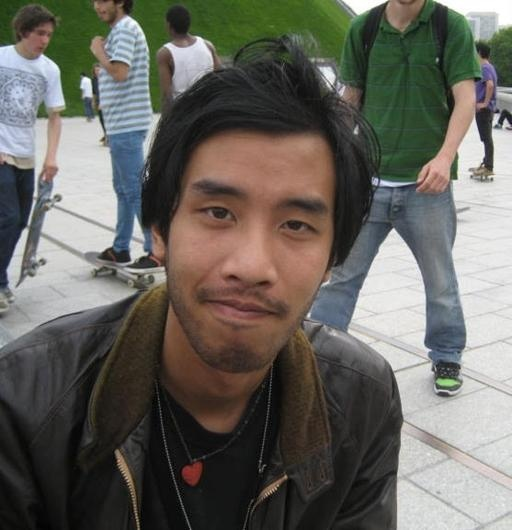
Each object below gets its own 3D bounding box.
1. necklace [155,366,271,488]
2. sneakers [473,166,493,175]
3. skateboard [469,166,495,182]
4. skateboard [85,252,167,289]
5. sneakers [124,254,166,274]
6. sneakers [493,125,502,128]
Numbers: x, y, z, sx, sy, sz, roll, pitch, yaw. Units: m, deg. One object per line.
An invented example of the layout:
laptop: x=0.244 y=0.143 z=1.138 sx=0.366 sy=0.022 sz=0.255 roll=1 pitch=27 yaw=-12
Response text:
necklace: x=-0.136 y=0.434 z=1.343 sx=0.324 sy=0.025 sz=0.395 roll=-11 pitch=37 yaw=15
sneakers: x=5.064 y=-2.079 z=11.299 sx=0.289 sy=0.107 sz=0.288 roll=8 pitch=18 yaw=28
skateboard: x=5.145 y=-2.028 z=11.370 sx=0.433 sy=0.173 sz=0.438 roll=2 pitch=13 yaw=-4
skateboard: x=-1.428 y=0.089 z=5.339 sx=0.352 sy=0.196 sz=1.109 roll=-5 pitch=17 yaw=-41
sneakers: x=-1.041 y=0.000 z=4.647 sx=0.460 sy=0.206 sz=0.173 roll=4 pitch=2 yaw=0
sneakers: x=10.998 y=-6.252 z=22.924 sx=0.273 sy=0.165 sz=0.329 roll=7 pitch=8 yaw=3
